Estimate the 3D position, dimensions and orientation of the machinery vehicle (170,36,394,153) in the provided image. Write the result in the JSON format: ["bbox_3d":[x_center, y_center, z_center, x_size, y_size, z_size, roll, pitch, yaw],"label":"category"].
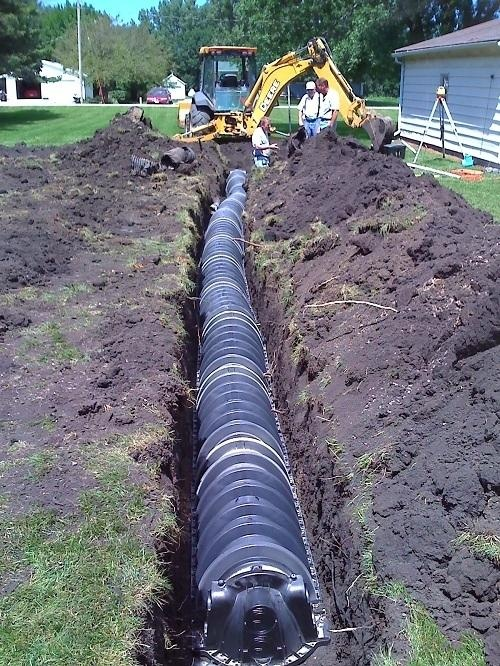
[{"bbox_3d":[0.310,-6.829,15.725,2.639,3.138,7.593,-10,21,-30],"label":"machinery vehicle"}]

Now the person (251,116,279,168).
[{"bbox_3d":[0.370,-4.954,14.421,0.621,1.264,1.548,1,18,1],"label":"person"}]

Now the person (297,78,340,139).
[{"bbox_3d":[1.556,-5.106,12.633,0.852,1.202,1.346,1,18,2],"label":"person"}]

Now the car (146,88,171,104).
[{"bbox_3d":[-7.834,-20.181,47.253,1.858,1.465,3.003,3,18,6],"label":"car"}]

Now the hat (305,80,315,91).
[{"bbox_3d":[1.330,-5.384,12.086,0.204,0.202,0.494,2,18,5],"label":"hat"}]
